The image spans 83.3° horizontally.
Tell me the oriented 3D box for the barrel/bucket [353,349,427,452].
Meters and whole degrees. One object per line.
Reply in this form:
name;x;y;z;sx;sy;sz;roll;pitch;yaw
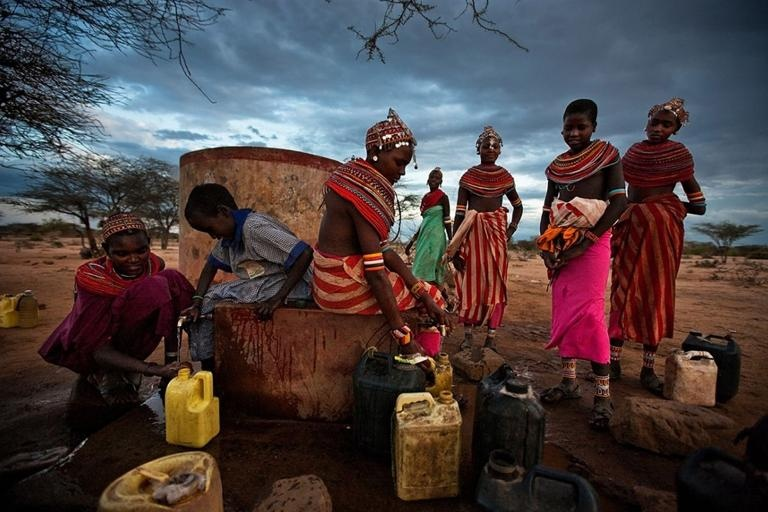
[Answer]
barrel/bucket;-0.014;1.132;3.703;0.847;0.796;0.650;1;6;-14

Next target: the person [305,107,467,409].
person;-0.036;-0.154;3.701;1.172;2.167;0.588;-2;7;-9

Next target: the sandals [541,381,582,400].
sandals;1.761;1.367;4.340;0.460;0.158;0.157;1;-7;-15

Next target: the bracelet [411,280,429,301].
bracelet;0.310;0.304;3.788;0.151;0.074;0.177;-7;-33;1

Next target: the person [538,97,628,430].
person;1.873;0.004;4.156;0.761;2.935;1.114;2;7;22

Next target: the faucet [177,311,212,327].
faucet;-1.765;0.577;4.030;0.250;0.074;0.143;-4;4;-31

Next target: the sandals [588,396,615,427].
sandals;1.938;1.406;3.850;0.132;0.155;0.380;-2;-16;18

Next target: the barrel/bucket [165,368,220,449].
barrel/bucket;-1.567;1.240;3.540;0.407;0.639;0.257;-4;8;-26

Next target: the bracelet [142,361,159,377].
bracelet;-2.054;1.003;3.823;0.111;0.049;0.139;4;18;-4

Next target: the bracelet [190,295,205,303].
bracelet;-1.805;0.427;4.186;0.075;0.027;0.077;-21;-33;32

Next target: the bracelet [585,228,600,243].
bracelet;1.922;-0.182;3.991;0.050;0.128;0.096;-18;-27;-53

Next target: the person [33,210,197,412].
person;-2.506;0.528;4.144;1.208;1.865;0.701;1;7;14

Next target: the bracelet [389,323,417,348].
bracelet;0.149;0.648;3.654;0.164;0.156;0.211;-39;15;-8
